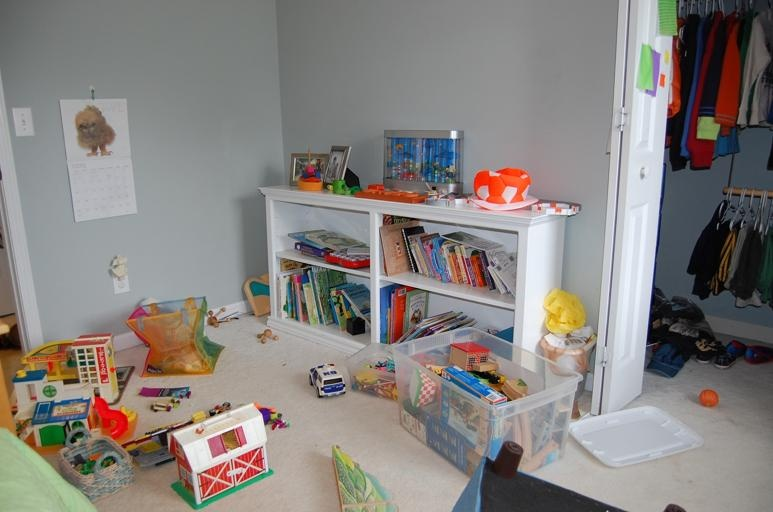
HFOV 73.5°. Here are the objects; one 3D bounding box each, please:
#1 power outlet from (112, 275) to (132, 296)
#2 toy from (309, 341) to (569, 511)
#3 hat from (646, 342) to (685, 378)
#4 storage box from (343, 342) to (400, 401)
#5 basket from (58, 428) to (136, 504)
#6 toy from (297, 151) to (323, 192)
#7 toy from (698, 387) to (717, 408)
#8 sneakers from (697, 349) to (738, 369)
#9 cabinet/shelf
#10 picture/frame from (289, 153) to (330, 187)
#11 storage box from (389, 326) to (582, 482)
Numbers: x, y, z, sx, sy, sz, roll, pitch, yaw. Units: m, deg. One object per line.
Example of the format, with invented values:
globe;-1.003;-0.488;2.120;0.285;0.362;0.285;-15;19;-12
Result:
power outlet;-1.979;0.213;3.846;0.139;0.148;0.018;-12;18;-39
toy;0.487;0.800;2.861;0.790;0.570;0.740;-11;16;-23
hat;1.933;0.718;3.582;0.198;0.107;0.345;7;19;39
storage box;-0.084;0.735;3.320;0.371;0.154;0.284;5;11;36
basket;-1.455;1.037;2.592;0.306;0.205;0.309;14;18;42
toy;-0.591;-0.634;3.933;0.180;0.273;0.322;-7;15;-7
toy;1.955;0.873;3.193;0.101;0.093;0.104;-28;-25;36
sneakers;2.298;0.720;3.636;0.262;0.114;0.100;8;12;41
cabinet/shelf;0.113;0.148;3.927;2.327;1.171;0.637;9;16;34
picture/frame;-0.590;-0.661;3.987;0.281;0.200;0.019;14;11;35
storage box;0.497;0.803;2.829;0.650;0.434;0.890;-11;20;-34
